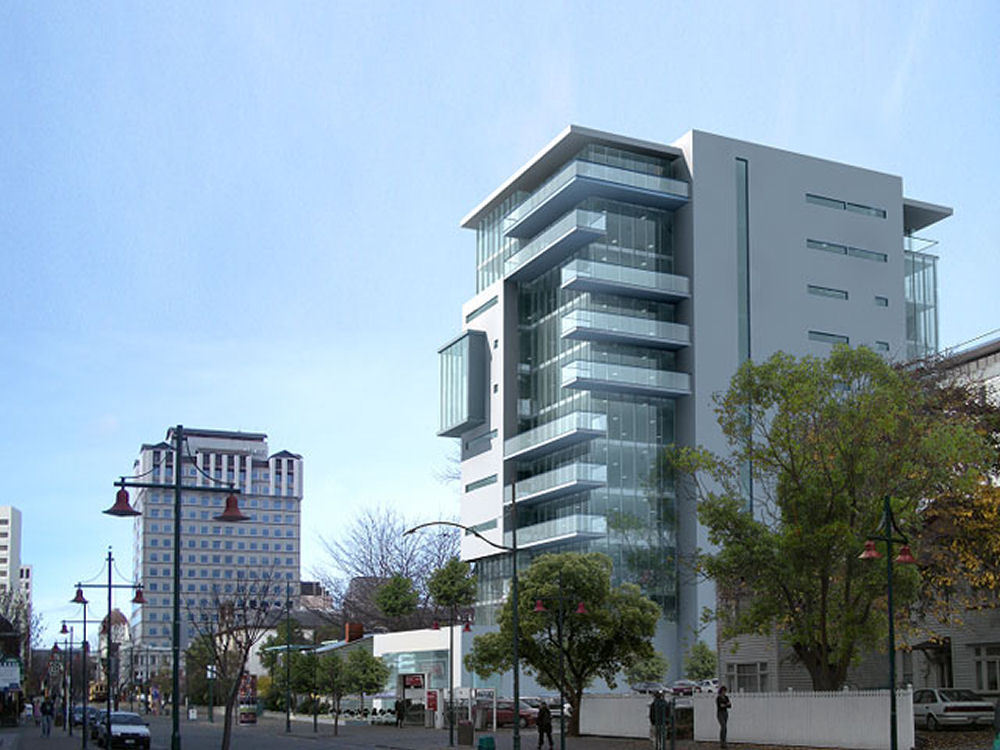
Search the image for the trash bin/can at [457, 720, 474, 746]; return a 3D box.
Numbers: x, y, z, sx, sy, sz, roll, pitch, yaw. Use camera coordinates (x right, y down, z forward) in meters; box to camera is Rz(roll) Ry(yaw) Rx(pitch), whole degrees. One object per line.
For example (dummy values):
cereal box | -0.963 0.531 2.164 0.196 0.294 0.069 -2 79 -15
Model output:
trash bin/can | -1.867 18.390 79.561 0.968 1.629 1.058 0 -5 1
